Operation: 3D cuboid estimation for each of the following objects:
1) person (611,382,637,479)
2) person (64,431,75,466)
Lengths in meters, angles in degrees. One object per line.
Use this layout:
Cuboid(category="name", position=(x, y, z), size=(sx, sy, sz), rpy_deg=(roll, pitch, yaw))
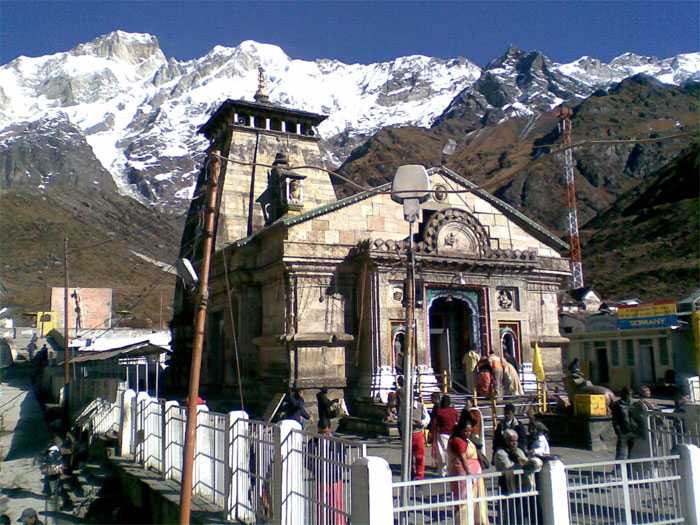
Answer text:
Cuboid(category="person", position=(7.920, 4.794, 19.454), size=(0.626, 2.380, 0.661), rpy_deg=(-4, -12, 16))
Cuboid(category="person", position=(-12.905, 8.627, 31.224), size=(0.268, 1.182, 1.192), rpy_deg=(5, -7, -24))
